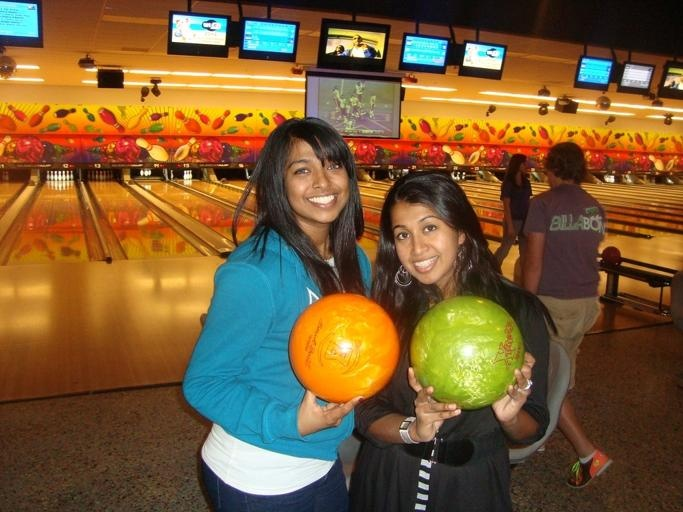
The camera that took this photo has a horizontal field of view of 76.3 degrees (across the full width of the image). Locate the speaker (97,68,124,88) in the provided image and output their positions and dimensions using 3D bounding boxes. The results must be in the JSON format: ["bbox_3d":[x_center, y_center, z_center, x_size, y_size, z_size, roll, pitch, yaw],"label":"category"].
[{"bbox_3d":[-4.531,-3.476,8.469,0.413,0.353,1.059,-7,20,-28],"label":"speaker"}]

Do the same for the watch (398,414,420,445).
[{"bbox_3d":[0.171,0.444,1.122,0.040,0.075,0.057,4,17,3],"label":"watch"}]

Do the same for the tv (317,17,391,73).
[{"bbox_3d":[0.139,-2.507,5.190,1.035,0.731,0.146,3,30,-16],"label":"tv"}]

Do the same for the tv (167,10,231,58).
[{"bbox_3d":[-1.661,-2.585,5.071,0.698,0.450,0.152,-2,18,-15],"label":"tv"}]

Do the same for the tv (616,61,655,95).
[{"bbox_3d":[4.835,-2.933,7.011,0.257,0.477,0.534,-32,39,-19],"label":"tv"}]

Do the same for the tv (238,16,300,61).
[{"bbox_3d":[-0.891,-2.622,5.246,0.765,0.553,0.106,3,24,-13],"label":"tv"}]

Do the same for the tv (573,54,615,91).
[{"bbox_3d":[3.965,-2.900,6.725,0.539,0.476,0.270,28,59,36],"label":"tv"}]
